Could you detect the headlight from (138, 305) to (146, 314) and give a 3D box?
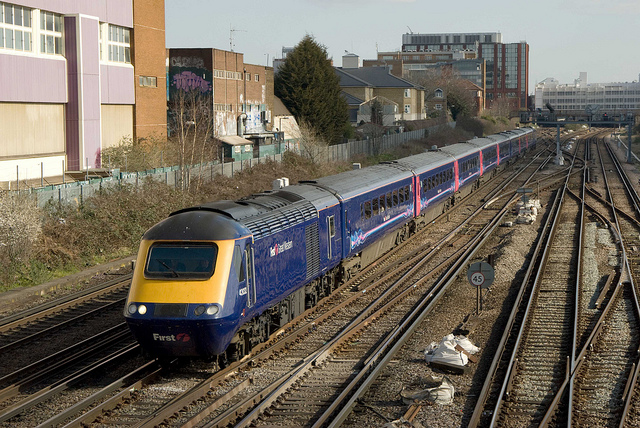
[{"bbox_3d":[-4.421,2.341,16.244,0.233,0.180,0.085,12,13,16],"label":"headlight"}]

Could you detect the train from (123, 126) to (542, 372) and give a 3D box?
[{"bbox_3d":[3.732,-0.644,31.868,1.869,3.439,38.221,-7,6,25],"label":"train"}]

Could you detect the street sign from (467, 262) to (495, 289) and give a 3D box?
[{"bbox_3d":[5.217,1.982,21.280,0.940,1.149,0.138,0,3,14],"label":"street sign"}]

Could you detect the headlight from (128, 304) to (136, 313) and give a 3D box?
[{"bbox_3d":[-4.696,2.331,16.346,0.242,0.202,0.102,18,16,36],"label":"headlight"}]
